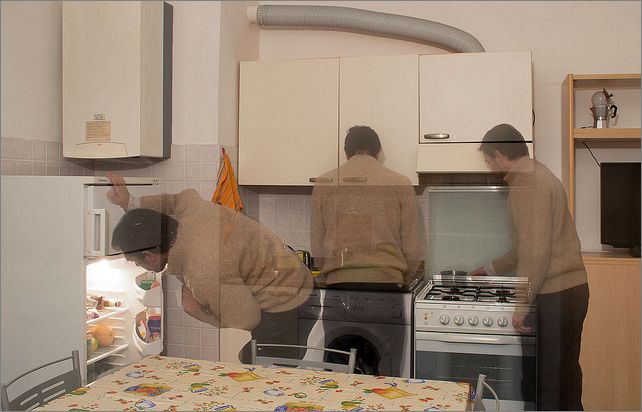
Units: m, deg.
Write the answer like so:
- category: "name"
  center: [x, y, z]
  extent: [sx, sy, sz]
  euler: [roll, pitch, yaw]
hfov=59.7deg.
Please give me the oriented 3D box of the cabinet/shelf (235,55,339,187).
- category: "cabinet/shelf"
  center: [-0.218, -0.594, 4.023]
  extent: [0.966, 1.136, 0.602]
  euler: [0, -2, 8]
